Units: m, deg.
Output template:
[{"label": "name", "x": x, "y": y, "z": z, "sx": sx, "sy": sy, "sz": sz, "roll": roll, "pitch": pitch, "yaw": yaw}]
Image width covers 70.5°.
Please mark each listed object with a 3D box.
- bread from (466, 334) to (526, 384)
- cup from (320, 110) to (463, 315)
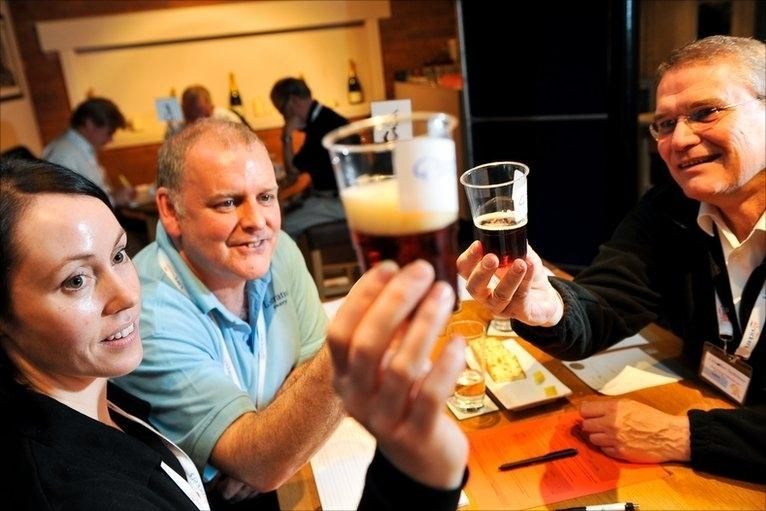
[{"label": "bread", "x": 0.457, "y": 0.432, "z": 2.225, "sx": 0.130, "sy": 0.035, "sz": 0.228, "roll": -3, "pitch": 25, "yaw": -22}, {"label": "cup", "x": 0.065, "y": -0.117, "z": 1.259, "sx": 0.250, "sy": 0.409, "sz": 0.236, "roll": -8, "pitch": 18, "yaw": 3}]
